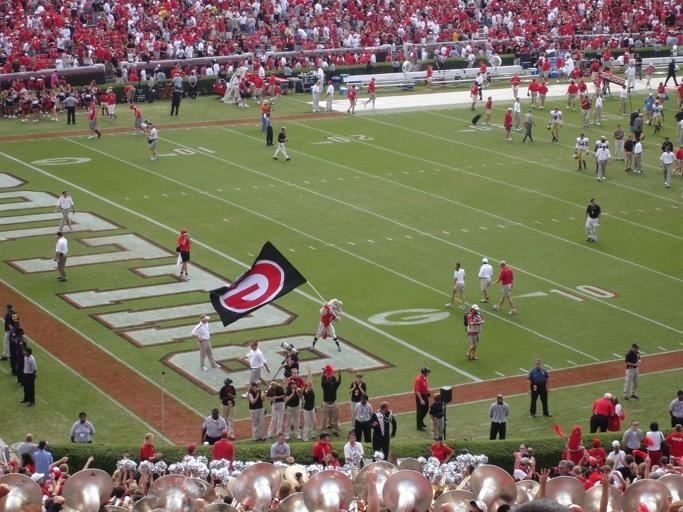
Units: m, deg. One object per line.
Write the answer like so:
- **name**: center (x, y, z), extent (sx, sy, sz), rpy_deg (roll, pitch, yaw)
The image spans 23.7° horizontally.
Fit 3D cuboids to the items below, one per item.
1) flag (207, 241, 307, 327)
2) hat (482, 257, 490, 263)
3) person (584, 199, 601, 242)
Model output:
- **flag**: center (-3.133, 1.086, 60.284), extent (2.813, 2.600, 0.317), rpy_deg (18, -5, 13)
- **hat**: center (5.697, 0.082, 62.645), extent (0.239, 0.268, 0.252), rpy_deg (-1, 1, 5)
- **person**: center (10.622, -1.642, 67.475), extent (0.580, 1.846, 1.496), rpy_deg (0, 13, 8)
